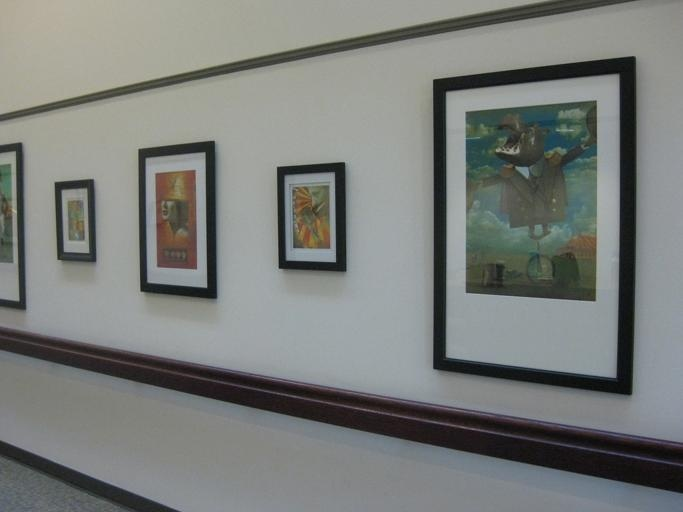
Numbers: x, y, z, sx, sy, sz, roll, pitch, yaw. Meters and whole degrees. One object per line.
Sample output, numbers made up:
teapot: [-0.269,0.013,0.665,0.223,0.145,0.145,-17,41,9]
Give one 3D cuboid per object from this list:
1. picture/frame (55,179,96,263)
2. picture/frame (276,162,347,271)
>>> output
picture/frame: [-0.922,-0.127,1.990,0.017,0.255,0.171,-2,3,15]
picture/frame: [-0.074,-0.113,1.575,0.253,0.392,0.029,2,5,33]
